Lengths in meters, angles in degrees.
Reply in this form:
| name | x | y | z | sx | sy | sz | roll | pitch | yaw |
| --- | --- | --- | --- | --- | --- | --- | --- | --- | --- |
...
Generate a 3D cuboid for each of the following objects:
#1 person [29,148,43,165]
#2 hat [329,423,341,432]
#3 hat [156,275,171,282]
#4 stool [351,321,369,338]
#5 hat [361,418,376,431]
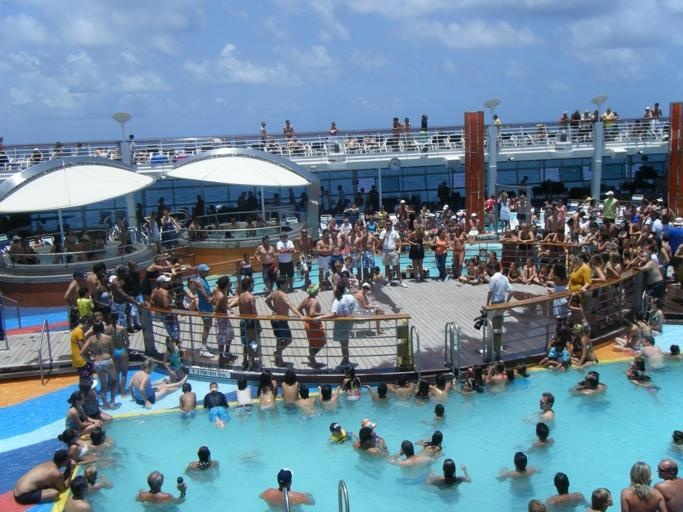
| name | x | y | z | sx | sy | sz | roll | pitch | yaw |
| --- | --- | --- | --- | --- | --- | --- | --- | --- | --- |
| person | -12.049 | -3.912 | 25.750 | 0.498 | 0.642 | 0.816 | -8 | 10 | -29 |
| hat | -0.091 | 3.126 | 11.979 | 0.129 | 0.155 | 0.181 | -8 | -5 | 11 |
| hat | -3.813 | 0.499 | 14.264 | 0.185 | 0.097 | 0.292 | 6 | 13 | 38 |
| stool | 0.458 | 1.660 | 14.853 | 0.402 | 0.154 | 0.623 | 0 | 5 | 7 |
| hat | 0.492 | 2.989 | 11.617 | 0.229 | 0.178 | 0.326 | -3 | 9 | 5 |
